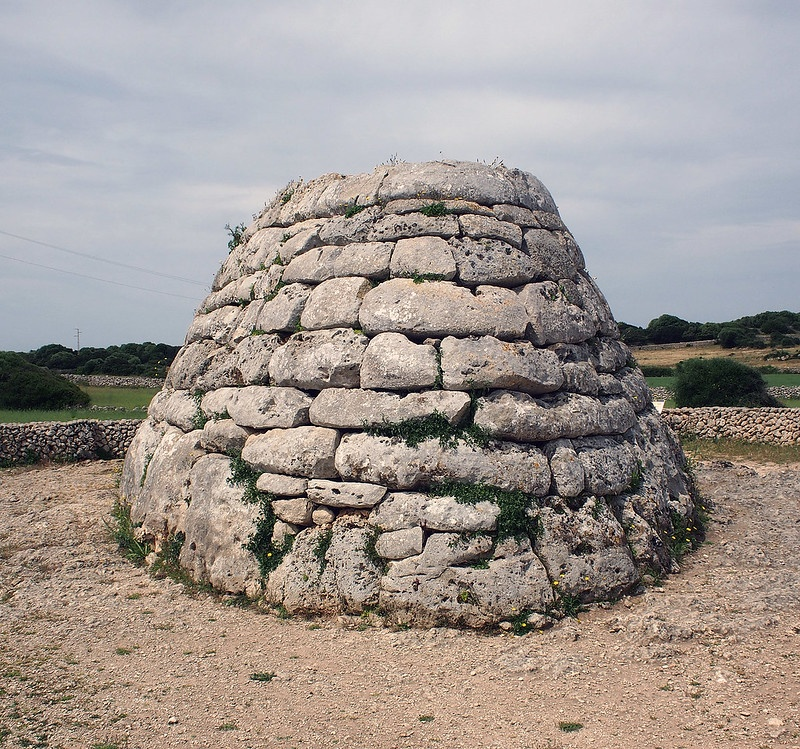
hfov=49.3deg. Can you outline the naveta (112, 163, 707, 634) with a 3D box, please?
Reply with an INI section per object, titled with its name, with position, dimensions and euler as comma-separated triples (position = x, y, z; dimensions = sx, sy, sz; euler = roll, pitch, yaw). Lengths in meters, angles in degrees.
[naveta]
position = -0.172, 0.486, 10.274
dimensions = 5.369, 3.435, 5.393
euler = -3, 4, -41
